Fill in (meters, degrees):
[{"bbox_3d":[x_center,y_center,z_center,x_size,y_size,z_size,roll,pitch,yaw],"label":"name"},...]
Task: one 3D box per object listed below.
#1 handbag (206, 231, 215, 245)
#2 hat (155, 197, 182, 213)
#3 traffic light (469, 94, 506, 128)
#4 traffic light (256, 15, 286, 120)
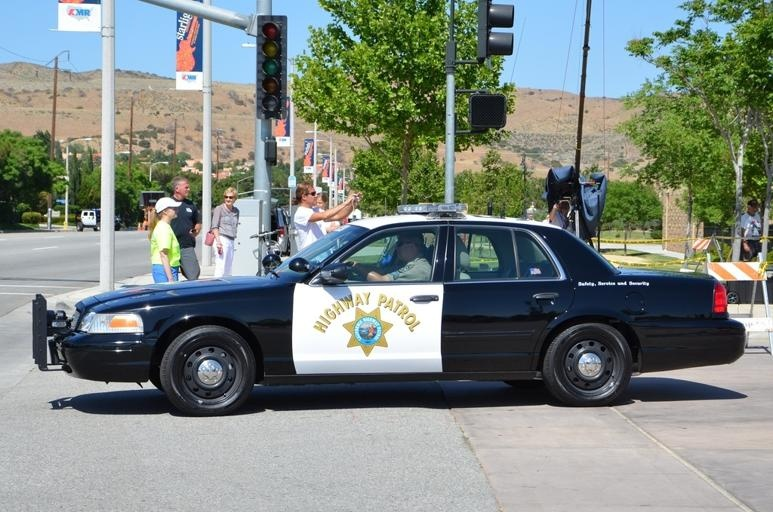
[{"bbox_3d":[-3.563,-0.367,17.588,0.147,0.232,0.249,8,15,-3],"label":"handbag"},{"bbox_3d":[-3.740,-0.921,15.083,0.552,0.197,0.354,-9,11,-39],"label":"hat"},{"bbox_3d":[1.739,-2.499,14.981,0.650,0.533,0.213,0,1,-1],"label":"traffic light"},{"bbox_3d":[-2.165,-3.526,16.271,0.555,1.905,0.721,-1,10,-9],"label":"traffic light"}]
